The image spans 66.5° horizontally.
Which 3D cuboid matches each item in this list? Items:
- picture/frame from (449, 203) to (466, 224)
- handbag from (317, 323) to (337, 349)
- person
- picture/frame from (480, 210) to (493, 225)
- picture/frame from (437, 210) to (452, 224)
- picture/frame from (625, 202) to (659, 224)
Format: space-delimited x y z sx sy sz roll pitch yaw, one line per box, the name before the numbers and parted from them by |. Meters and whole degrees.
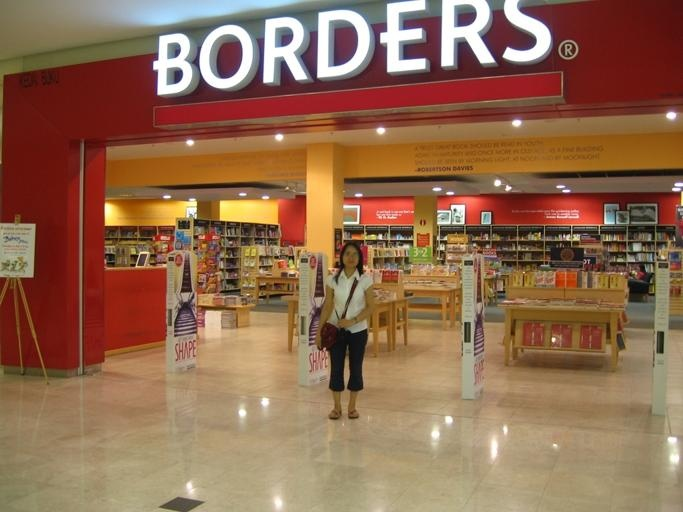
picture/frame | 5.200 -1.927 23.332 0.930 1.248 0.054 3 4 29
handbag | -0.139 0.793 5.224 0.187 0.259 0.070 0 -3 29
person | 0.031 0.763 5.359 0.563 1.822 0.356 1 -2 -7
picture/frame | 6.391 -1.726 22.993 0.591 0.674 0.031 6 3 25
picture/frame | 4.630 -1.768 23.412 0.706 0.601 0.079 5 4 29
picture/frame | 12.237 -1.760 21.144 0.895 0.724 0.041 3 5 23
